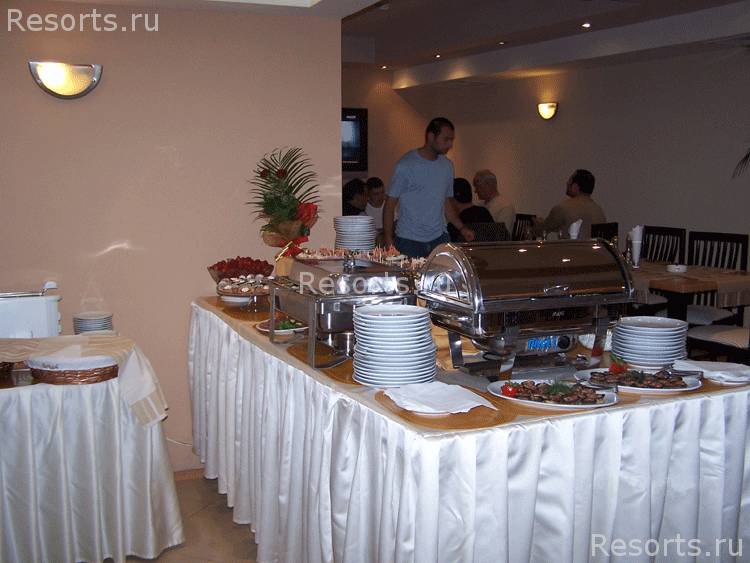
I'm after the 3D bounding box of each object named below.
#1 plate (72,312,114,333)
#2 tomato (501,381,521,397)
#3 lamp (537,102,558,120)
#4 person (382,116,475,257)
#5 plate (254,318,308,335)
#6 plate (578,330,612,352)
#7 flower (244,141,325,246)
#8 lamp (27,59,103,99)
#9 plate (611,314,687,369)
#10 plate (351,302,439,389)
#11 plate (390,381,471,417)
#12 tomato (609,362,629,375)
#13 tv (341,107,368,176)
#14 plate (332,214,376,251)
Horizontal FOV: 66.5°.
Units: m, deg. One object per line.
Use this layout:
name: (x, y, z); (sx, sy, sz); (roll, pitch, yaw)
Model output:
plate: (-1.636, 0.245, 3.355); (0.160, 0.068, 0.162); (-1, 4, 5)
tomato: (0.424, 0.333, 1.771); (0.036, 0.036, 0.036); (-8, 17, -16)
lamp: (2.464, -2.434, 8.182); (0.100, 0.265, 0.296); (-6, 12, -28)
person: (0.347, -0.746, 4.607); (0.573, 1.069, 0.313); (0, 11, 0)
plate: (-0.437, 0.196, 2.575); (0.183, 0.048, 0.301); (-5, 12, -26)
plate: (0.824, 0.228, 2.159); (0.081, 0.076, 0.098); (-10, -5, -17)
flower: (-0.604, -0.571, 3.653); (0.514, 0.592, 1.136); (-1, 11, -6)
lamp: (-1.960, -1.260, 3.563); (0.271, 0.164, 0.064); (-1, 9, -25)
plate: (0.964, 0.174, 2.050); (0.214, 0.097, 0.213); (-9, 13, -30)
plate: (0.060, 0.218, 1.901); (0.249, 0.188, 0.256); (4, 10, 27)
plate: (0.167, 0.349, 1.702); (0.252, 0.029, 0.194); (-1, 11, -10)
tomato: (0.828, 0.295, 1.941); (0.042, 0.049, 0.043); (17, 4, 35)
tv: (-0.331, -2.181, 8.919); (0.396, 0.996, 0.176); (-3, 11, -14)
plate: (-0.100, -0.231, 2.806); (0.173, 0.131, 0.176); (1, 10, 5)
